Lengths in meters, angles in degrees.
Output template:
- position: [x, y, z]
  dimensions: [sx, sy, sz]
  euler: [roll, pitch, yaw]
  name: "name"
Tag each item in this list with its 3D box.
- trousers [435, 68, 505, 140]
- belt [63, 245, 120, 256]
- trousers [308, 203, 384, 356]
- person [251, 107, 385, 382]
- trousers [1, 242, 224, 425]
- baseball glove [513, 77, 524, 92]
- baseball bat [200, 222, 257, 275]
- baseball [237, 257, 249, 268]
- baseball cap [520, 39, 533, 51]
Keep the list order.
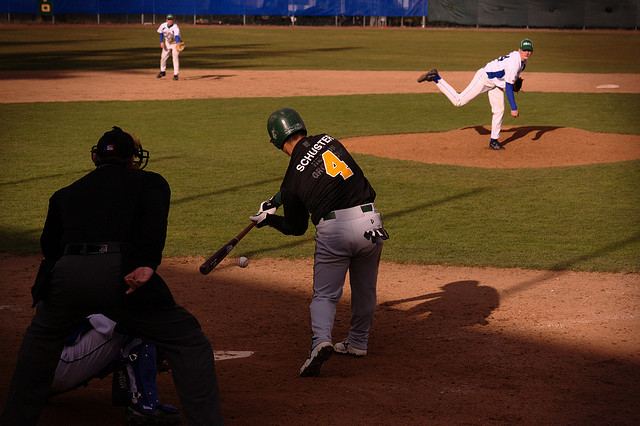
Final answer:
- position: [3.459, -2.390, 17.339]
  dimensions: [0.779, 1.487, 1.480]
  euler: [-7, 19, -28]
  name: "trousers"
- position: [-2.250, 0.364, 7.831]
  dimensions: [0.307, 0.078, 0.190]
  euler: [-2, -6, -6]
  name: "belt"
- position: [0.188, 0.795, 9.120]
  dimensions: [0.960, 1.832, 0.559]
  euler: [-14, 25, -42]
  name: "trousers"
- position: [-0.014, 0.367, 9.057]
  dimensions: [1.363, 2.924, 1.048]
  euler: [9, 19, 17]
  name: "person"
- position: [-2.197, 1.341, 8.339]
  dimensions: [2.360, 1.573, 0.814]
  euler: [2, 10, -3]
  name: "trousers"
- position: [4.222, -2.725, 16.973]
  dimensions: [0.318, 0.256, 0.103]
  euler: [8, 30, -2]
  name: "baseball glove"
- position: [-1.320, 0.543, 11.478]
  dimensions: [0.155, 0.160, 1.811]
  euler: [-15, 14, 34]
  name: "baseball bat"
- position: [-0.943, 0.600, 9.662]
  dimensions: [0.154, 0.103, 0.101]
  euler: [0, 43, -12]
  name: "baseball"
- position: [4.259, -3.447, 16.358]
  dimensions: [0.221, 0.186, 0.411]
  euler: [6, 16, 10]
  name: "baseball cap"
